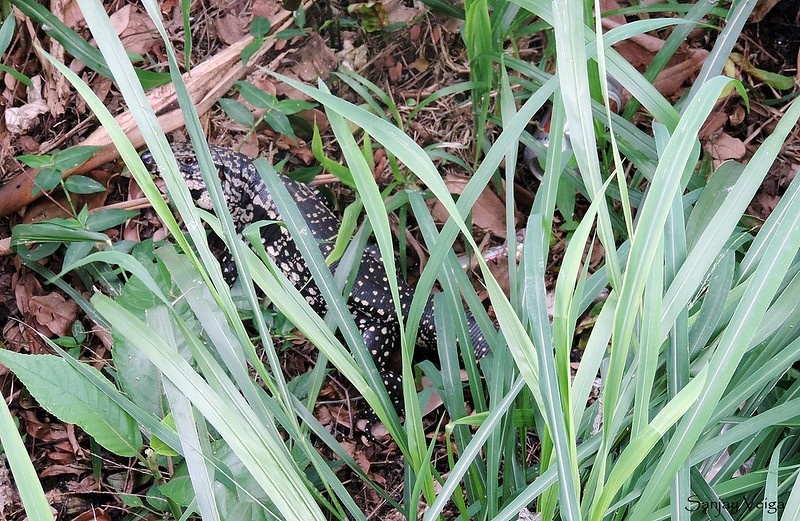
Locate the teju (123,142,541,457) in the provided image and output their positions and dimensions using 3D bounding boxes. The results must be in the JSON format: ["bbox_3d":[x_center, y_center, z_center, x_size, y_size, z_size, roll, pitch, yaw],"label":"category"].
[{"bbox_3d":[-0.238,0.020,2.508,1.308,0.386,0.727,46,48,-9],"label":"teju"}]
